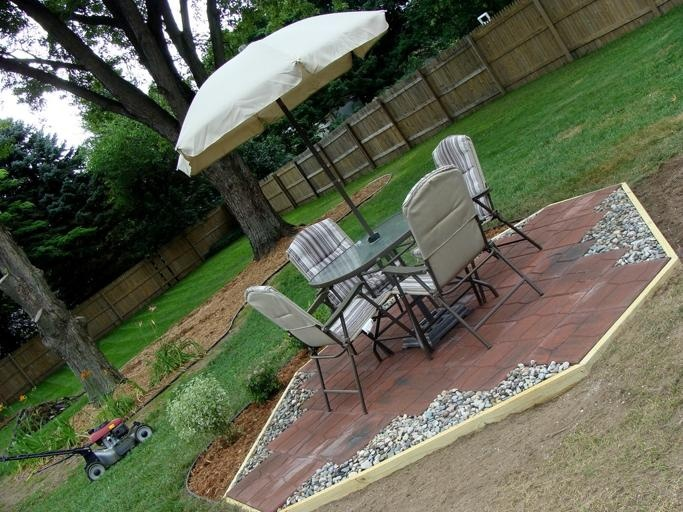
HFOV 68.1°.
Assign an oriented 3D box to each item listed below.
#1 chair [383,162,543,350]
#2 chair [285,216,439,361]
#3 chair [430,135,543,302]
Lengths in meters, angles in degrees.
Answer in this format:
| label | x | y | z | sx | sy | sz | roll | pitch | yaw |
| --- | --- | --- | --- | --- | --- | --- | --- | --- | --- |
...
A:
| label | x | y | z | sx | sy | sz | roll | pitch | yaw |
| --- | --- | --- | --- | --- | --- | --- | --- | --- | --- |
| chair | 1.045 | 0.112 | 4.989 | 1.129 | 1.847 | 1.226 | -33 | 9 | -25 |
| chair | 0.253 | 0.364 | 6.561 | 1.055 | 1.764 | 1.563 | -39 | 26 | -25 |
| chair | 1.483 | -0.485 | 6.058 | 1.037 | 1.629 | 0.925 | -40 | 11 | -11 |
